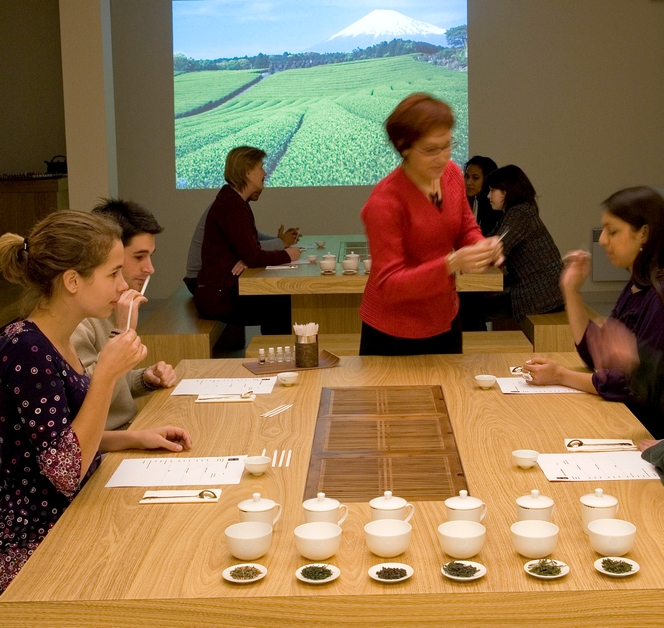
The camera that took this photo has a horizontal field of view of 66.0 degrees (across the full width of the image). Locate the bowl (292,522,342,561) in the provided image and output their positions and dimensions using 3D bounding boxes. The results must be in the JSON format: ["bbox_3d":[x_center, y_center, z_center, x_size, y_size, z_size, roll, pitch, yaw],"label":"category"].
[{"bbox_3d":[-0.022,0.396,0.875,0.082,0.039,0.077,-2,-13,-1],"label":"bowl"}]

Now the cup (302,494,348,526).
[{"bbox_3d":[-0.013,0.378,1.009,0.076,0.071,0.087,-1,0,2],"label":"cup"}]

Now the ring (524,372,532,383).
[{"bbox_3d":[0.764,0.246,1.980,0.031,0.015,0.041,13,-22,43],"label":"ring"}]

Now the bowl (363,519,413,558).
[{"bbox_3d":[0.098,0.378,0.880,0.065,0.031,0.061,-1,0,0],"label":"bowl"}]

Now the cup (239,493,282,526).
[{"bbox_3d":[-0.140,0.375,1.019,0.072,0.065,0.080,-1,0,-1],"label":"cup"}]

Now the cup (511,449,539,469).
[{"bbox_3d":[0.475,0.356,1.257,0.054,0.027,0.050,-1,0,0],"label":"cup"}]

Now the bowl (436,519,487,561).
[{"bbox_3d":[0.223,0.375,0.872,0.068,0.032,0.063,-1,4,0],"label":"bowl"}]

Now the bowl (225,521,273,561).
[{"bbox_3d":[-0.145,0.388,0.878,0.071,0.034,0.067,-1,1,0],"label":"bowl"}]

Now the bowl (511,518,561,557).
[{"bbox_3d":[0.341,0.362,0.852,0.065,0.032,0.060,-1,2,0],"label":"bowl"}]

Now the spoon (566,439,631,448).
[{"bbox_3d":[0.727,0.353,1.395,0.080,0.008,0.030,0,22,2],"label":"spoon"}]

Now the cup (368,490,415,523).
[{"bbox_3d":[0.105,0.365,1.010,0.090,0.069,0.065,-2,4,-20],"label":"cup"}]

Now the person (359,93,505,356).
[{"bbox_3d":[0.396,-0.321,2.128,0.572,1.073,0.576,-1,6,2],"label":"person"}]

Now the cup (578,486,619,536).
[{"bbox_3d":[0.511,0.373,0.975,0.064,0.062,0.075,-1,6,-1],"label":"cup"}]

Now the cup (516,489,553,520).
[{"bbox_3d":[0.380,0.359,0.988,0.059,0.056,0.069,-1,6,1],"label":"cup"}]

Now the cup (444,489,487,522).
[{"bbox_3d":[0.260,0.368,1.006,0.067,0.063,0.077,-1,0,1],"label":"cup"}]

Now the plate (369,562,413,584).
[{"bbox_3d":[0.091,0.404,0.801,0.069,0.015,0.063,0,5,7],"label":"plate"}]

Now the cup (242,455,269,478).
[{"bbox_3d":[-0.189,0.375,1.271,0.055,0.026,0.051,-1,0,0],"label":"cup"}]

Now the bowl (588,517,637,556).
[{"bbox_3d":[0.468,0.368,0.847,0.067,0.035,0.062,-1,3,0],"label":"bowl"}]
